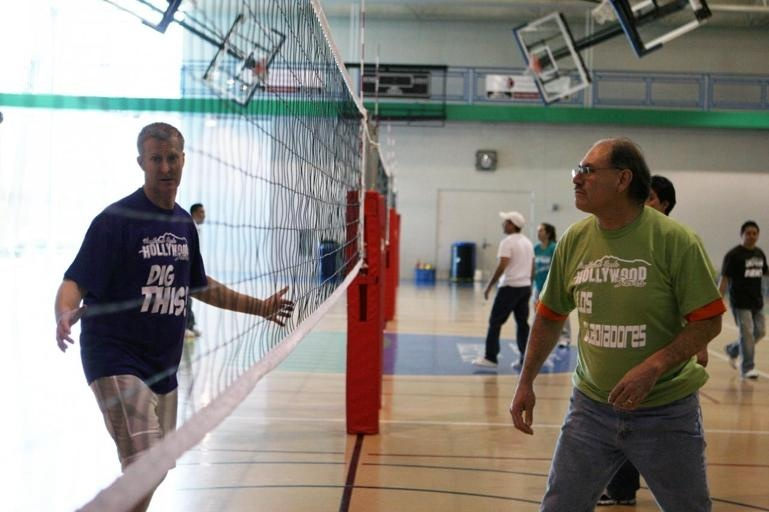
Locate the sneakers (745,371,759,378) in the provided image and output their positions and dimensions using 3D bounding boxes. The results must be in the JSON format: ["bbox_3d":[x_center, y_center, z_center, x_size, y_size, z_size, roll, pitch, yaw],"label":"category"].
[{"bbox_3d":[3.618,1.168,6.689,0.056,0.064,0.154,1,6,11],"label":"sneakers"}]

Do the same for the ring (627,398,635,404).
[{"bbox_3d":[1.019,0.600,2.827,0.019,0.020,0.005,-41,23,25],"label":"ring"}]

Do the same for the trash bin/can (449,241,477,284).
[{"bbox_3d":[1.938,0.170,16.542,0.634,0.933,0.590,2,1,35],"label":"trash bin/can"}]

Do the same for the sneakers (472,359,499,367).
[{"bbox_3d":[1.032,1.079,6.893,0.248,0.099,0.090,7,0,21],"label":"sneakers"}]

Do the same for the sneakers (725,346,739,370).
[{"bbox_3d":[3.573,1.050,7.011,0.093,0.253,0.113,-23,15,-39],"label":"sneakers"}]

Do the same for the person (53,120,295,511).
[{"bbox_3d":[-0.944,0.144,2.876,0.855,1.388,0.396,-3,8,-38],"label":"person"}]
